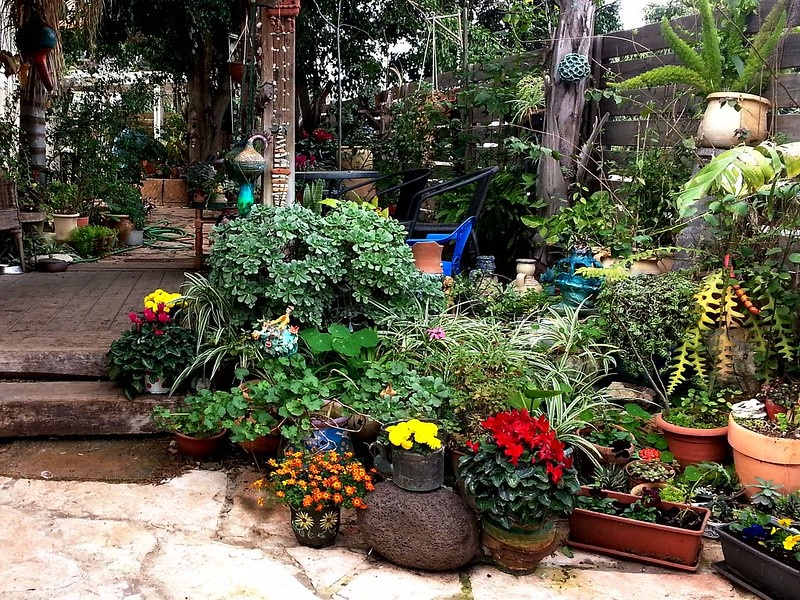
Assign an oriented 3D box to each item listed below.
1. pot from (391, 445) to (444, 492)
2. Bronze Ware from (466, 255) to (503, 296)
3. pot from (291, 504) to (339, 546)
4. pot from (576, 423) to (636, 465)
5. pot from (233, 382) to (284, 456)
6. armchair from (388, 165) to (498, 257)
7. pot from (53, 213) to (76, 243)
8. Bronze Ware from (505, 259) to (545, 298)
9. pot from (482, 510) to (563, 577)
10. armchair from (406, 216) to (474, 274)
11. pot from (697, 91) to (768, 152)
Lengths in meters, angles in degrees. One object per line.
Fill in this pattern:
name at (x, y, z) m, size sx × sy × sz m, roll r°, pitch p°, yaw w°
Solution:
pot at (0.079, 0.737, 2.636) m, size 0.247 × 0.164 × 0.241 m, roll 0°, pitch 8°, yaw 0°
Bronze Ware at (0.580, -0.181, 4.099) m, size 0.193 × 0.213 × 0.330 m, roll 3°, pitch 12°, yaw 6°
pot at (-0.377, 1.012, 2.615) m, size 0.213 × 0.147 × 0.201 m, roll 0°, pitch -20°, yaw 0°
pot at (1.037, 0.715, 2.906) m, size 0.219 × 0.126 × 0.215 m, roll 1°, pitch 6°, yaw 0°
pot at (-0.690, 0.650, 3.189) m, size 0.384 × 0.344 × 0.369 m, roll 1°, pitch 9°, yaw 0°
armchair at (0.295, -0.586, 4.501) m, size 0.698 × 0.857 × 0.545 m, roll 14°, pitch 34°, yaw -1°
pot at (-3.830, -0.833, 6.684) m, size 0.285 × 0.311 × 0.208 m, roll -9°, pitch 16°, yaw -41°
Bronze Ware at (0.896, -0.153, 4.122) m, size 0.256 × 0.333 × 0.273 m, roll 3°, pitch 4°, yaw 41°
pot at (0.527, 1.045, 2.543) m, size 0.277 × 0.193 × 0.253 m, roll -1°, pitch 4°, yaw 0°
armchair at (0.324, -0.426, 4.363) m, size 0.433 × 0.420 × 1.184 m, roll 4°, pitch 12°, yaw 9°
pot at (2.072, -1.127, 3.503) m, size 0.428 × 0.317 × 0.422 m, roll -15°, pitch 19°, yaw 5°
